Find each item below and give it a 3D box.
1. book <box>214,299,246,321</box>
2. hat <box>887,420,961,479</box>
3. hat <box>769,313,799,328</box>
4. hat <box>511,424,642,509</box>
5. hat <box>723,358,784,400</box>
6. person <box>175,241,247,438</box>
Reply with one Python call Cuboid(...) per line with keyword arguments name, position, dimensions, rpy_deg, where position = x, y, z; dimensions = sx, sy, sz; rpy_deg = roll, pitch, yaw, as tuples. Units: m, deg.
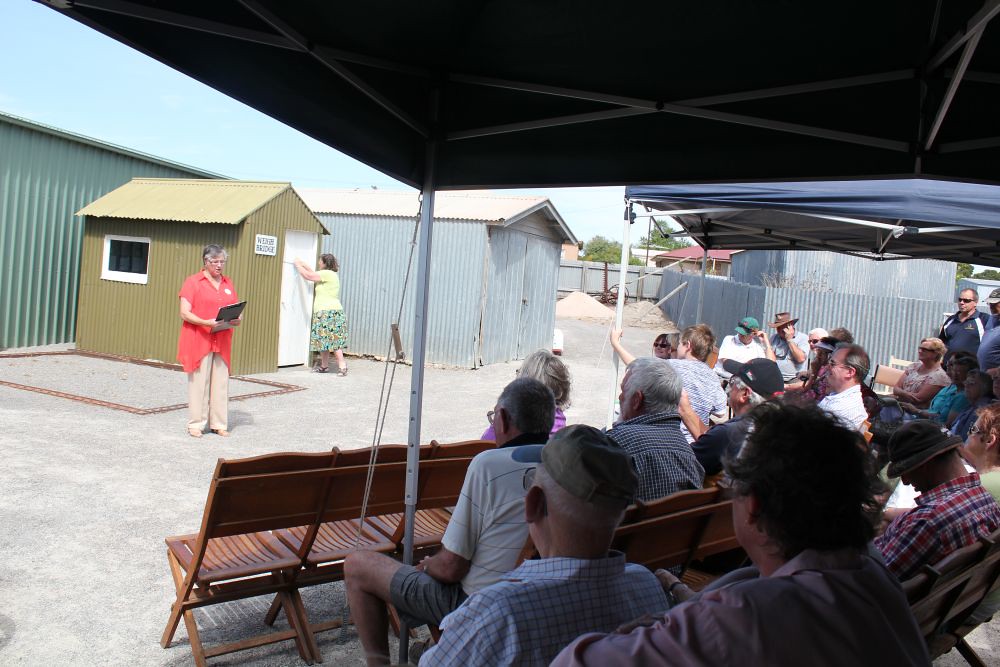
Cuboid(name="book", position=(-3.314, -0.262, 7.962), dimensions=(0.320, 0.248, 0.258), rpy_deg=(-2, 5, -44))
Cuboid(name="hat", position=(2.151, 0.567, 3.434), dimensions=(0.323, 0.167, 0.314), rpy_deg=(-27, -7, 5))
Cuboid(name="hat", position=(4.345, -0.210, 9.836), dimensions=(0.365, 0.138, 0.319), rpy_deg=(-3, -3, -41))
Cuboid(name="hat", position=(0.311, 0.468, 2.305), dimensions=(0.325, 0.257, 0.243), rpy_deg=(0, 4, -21))
Cuboid(name="hat", position=(2.212, 0.387, 5.683), dimensions=(0.481, 0.247, 0.325), rpy_deg=(36, 32, 32))
Cuboid(name="person", position=(-3.654, 0.076, 8.108), dimensions=(0.694, 2.391, 0.676), rpy_deg=(0, 4, -16))
